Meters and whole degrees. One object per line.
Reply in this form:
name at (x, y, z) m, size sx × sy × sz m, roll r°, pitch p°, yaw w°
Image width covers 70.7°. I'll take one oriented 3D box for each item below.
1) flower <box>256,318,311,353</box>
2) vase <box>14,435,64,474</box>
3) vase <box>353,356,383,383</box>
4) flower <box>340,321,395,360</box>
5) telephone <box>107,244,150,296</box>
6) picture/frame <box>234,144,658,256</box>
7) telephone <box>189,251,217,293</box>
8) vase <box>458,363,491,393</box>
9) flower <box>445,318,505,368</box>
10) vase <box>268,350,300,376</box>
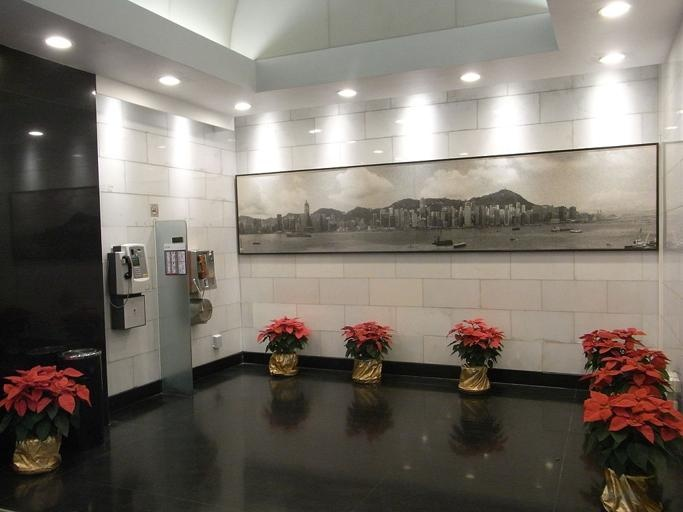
flower at (-0.769, 1.076, 6.668) m, size 0.600 × 0.444 × 0.594 m, roll -16°, pitch -16°, yaw 40°
vase at (-2.578, 1.667, 4.192) m, size 0.314 × 0.310 × 0.318 m, roll 1°, pitch -4°, yaw 16°
vase at (0.325, 1.447, 6.163) m, size 0.299 × 0.233 × 0.304 m, roll 1°, pitch -5°, yaw -5°
flower at (0.322, 1.114, 6.281) m, size 0.591 × 0.391 × 0.594 m, roll 4°, pitch 6°, yaw -10°
telephone at (-2.341, 0.152, 5.237) m, size 0.303 × 0.613 × 0.541 m, roll -2°, pitch -2°, yaw 13°
picture/frame at (1.063, -0.628, 6.105) m, size 5.269 × 1.288 × 0.055 m, roll -1°, pitch -9°, yaw 13°
telephone at (-1.871, 0.218, 6.361) m, size 0.206 × 0.542 × 0.535 m, roll -5°, pitch -1°, yaw 13°
vase at (1.557, 1.402, 5.617) m, size 0.311 × 0.270 × 0.318 m, roll 0°, pitch -3°, yaw 8°
flower at (1.586, 1.069, 5.741) m, size 0.613 × 0.501 × 0.662 m, roll 2°, pitch -5°, yaw 30°
vase at (-0.782, 1.438, 6.593) m, size 0.325 × 0.326 × 0.312 m, roll 1°, pitch 0°, yaw 10°
